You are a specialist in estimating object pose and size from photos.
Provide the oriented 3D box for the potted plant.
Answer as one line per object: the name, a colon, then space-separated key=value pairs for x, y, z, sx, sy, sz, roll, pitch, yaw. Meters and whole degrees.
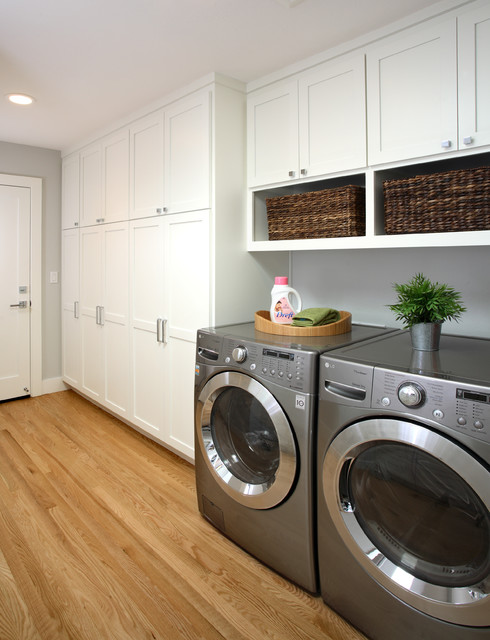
potted plant: x=0.584 y=-0.024 z=1.586 sx=0.299 sy=0.331 sz=0.313 roll=-1 pitch=0 yaw=-12

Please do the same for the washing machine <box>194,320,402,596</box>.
washing machine: x=0.115 y=0.410 z=2.147 sx=0.834 sy=1.271 sz=0.905 roll=2 pitch=1 yaw=-37

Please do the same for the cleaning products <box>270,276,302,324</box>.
cleaning products: x=0.180 y=-0.083 z=1.901 sx=0.124 sy=0.196 sz=0.150 roll=1 pitch=6 yaw=7
